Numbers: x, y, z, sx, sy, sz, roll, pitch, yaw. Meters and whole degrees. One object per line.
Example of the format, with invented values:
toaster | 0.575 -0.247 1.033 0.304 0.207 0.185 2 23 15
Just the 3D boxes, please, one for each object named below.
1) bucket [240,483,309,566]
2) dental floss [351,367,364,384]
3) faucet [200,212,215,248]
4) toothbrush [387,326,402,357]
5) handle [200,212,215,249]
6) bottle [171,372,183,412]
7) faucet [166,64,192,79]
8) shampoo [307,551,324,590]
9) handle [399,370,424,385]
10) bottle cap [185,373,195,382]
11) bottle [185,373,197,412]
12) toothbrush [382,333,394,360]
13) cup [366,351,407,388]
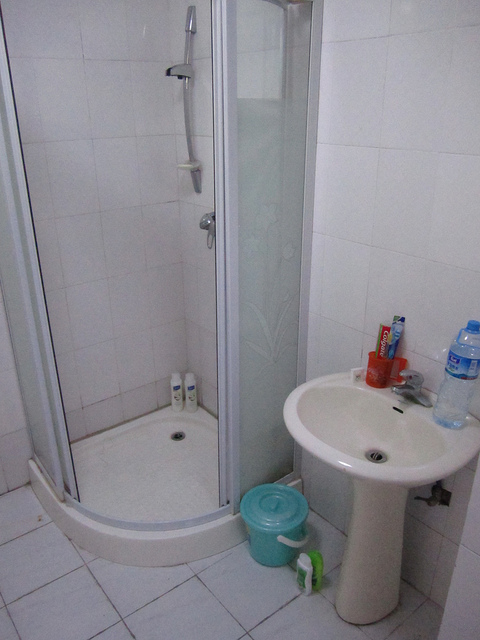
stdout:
bucket | 0.130 0.705 1.634 0.217 0.266 0.243 -14 25 -32
dental floss | 0.356 0.169 1.372 0.027 0.036 0.010 -12 22 -30
faucet | -0.102 -0.280 1.456 0.044 0.124 0.076 0 3 -9
toothbrush | 0.439 0.055 1.281 0.019 0.098 0.011 11 20 -1
handle | -0.098 -0.297 1.447 0.040 0.130 0.079 2 1 -2
bottle | -0.329 0.368 2.345 0.061 0.199 0.078 -4 24 -10
faucet | -0.237 -0.969 1.759 0.099 0.053 0.058 -5 28 -12
shampoo | 0.247 0.831 1.492 0.037 0.157 0.057 -11 20 -20
handle | 0.468 0.153 1.229 0.058 0.032 0.027 14 29 21
bottle cap | -0.255 0.292 2.301 0.029 0.038 0.036 0 21 4
bottle | -0.250 0.370 2.330 0.060 0.191 0.073 -6 24 -15
toothbrush | 0.424 0.073 1.288 0.022 0.077 0.009 -4 23 -12
cup | 0.439 0.141 1.362 0.098 0.129 0.077 7 25 12
